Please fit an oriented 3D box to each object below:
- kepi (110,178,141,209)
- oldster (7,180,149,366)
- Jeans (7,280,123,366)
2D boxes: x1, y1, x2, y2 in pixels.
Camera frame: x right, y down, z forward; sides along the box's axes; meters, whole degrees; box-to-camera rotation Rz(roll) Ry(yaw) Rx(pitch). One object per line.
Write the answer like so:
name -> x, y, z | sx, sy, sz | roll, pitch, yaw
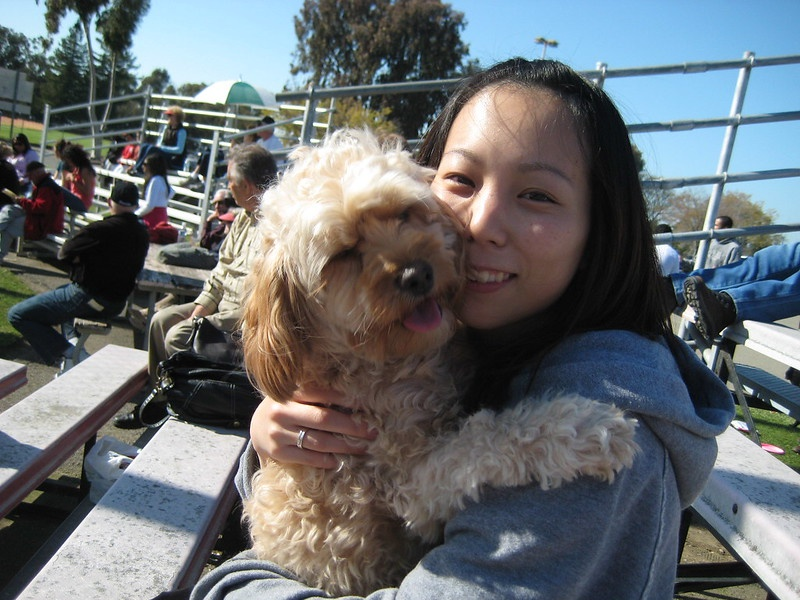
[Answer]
kepi -> -2.901, -1.121, 6.343 | 0.245, 0.219, 0.411 | 1, 28, -18
oldster -> -3.140, -0.254, 6.132 | 1.147, 2.051, 0.948 | 6, 7, 3
Jeans -> -3.410, 0.269, 6.040 | 0.990, 0.698, 0.484 | 7, -28, -5
